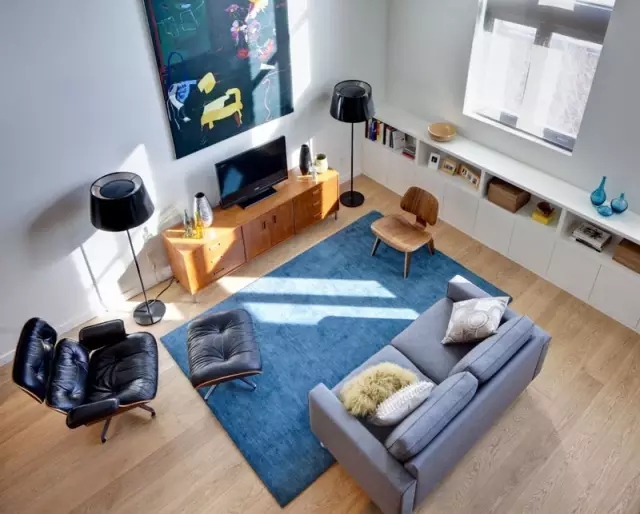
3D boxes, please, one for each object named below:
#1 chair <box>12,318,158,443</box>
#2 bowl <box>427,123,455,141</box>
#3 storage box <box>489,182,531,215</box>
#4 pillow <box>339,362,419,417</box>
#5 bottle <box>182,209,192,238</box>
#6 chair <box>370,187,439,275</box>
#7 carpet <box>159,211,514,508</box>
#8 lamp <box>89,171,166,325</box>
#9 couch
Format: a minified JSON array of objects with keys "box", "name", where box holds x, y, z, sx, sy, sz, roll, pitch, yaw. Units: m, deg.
[{"box":[-1.883,0.843,3.855,0.929,0.636,0.904,-11,39,-12],"name":"chair"},{"box":[1.480,-1.505,5.683,0.252,0.112,0.269,-2,45,2],"name":"bowl"},{"box":[2.174,-0.700,5.371,0.371,0.242,0.358,36,50,28],"name":"storage box"},{"box":[0.424,0.960,3.538,0.491,0.164,0.341,-29,36,-25],"name":"pillow"},{"box":[-1.426,-0.346,4.996,0.097,0.325,0.103,2,47,-2],"name":"bottle"},{"box":[1.005,-0.264,5.485,0.595,0.747,0.535,-40,62,-22],"name":"chair"},{"box":[-0.061,0.828,4.860,2.905,0.023,2.024,-33,54,-30],"name":"carpet"},{"box":[-1.821,-0.048,4.668,0.505,1.537,0.539,0,36,2],"name":"lamp"},{"box":[0.713,1.647,4.472,2.459,1.269,1.336,-35,56,-23],"name":"couch"}]
